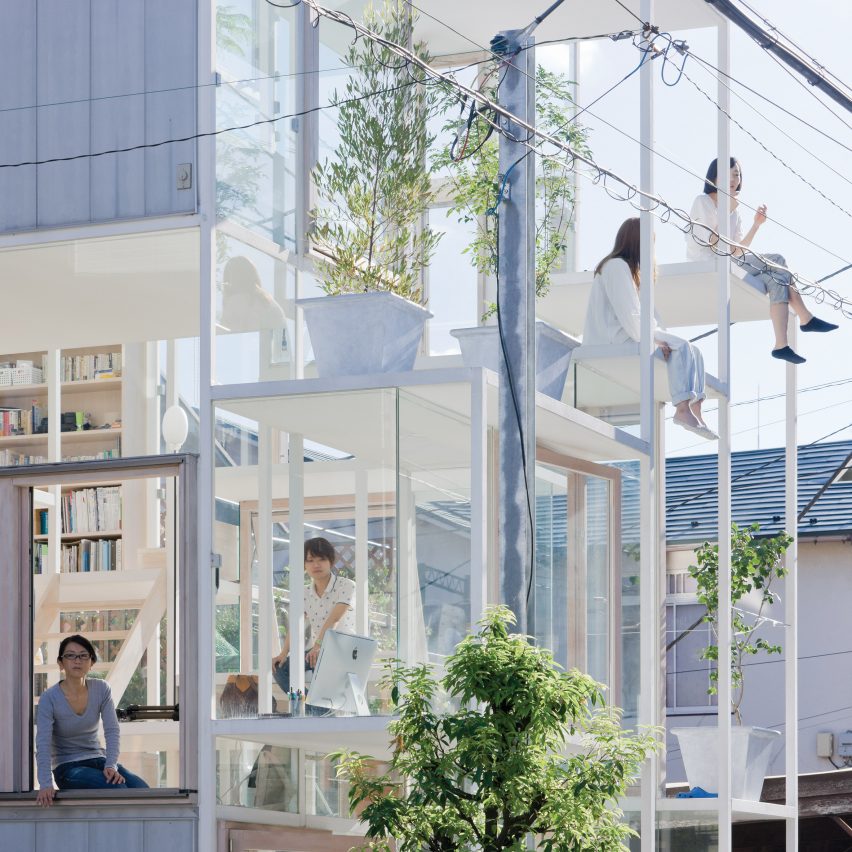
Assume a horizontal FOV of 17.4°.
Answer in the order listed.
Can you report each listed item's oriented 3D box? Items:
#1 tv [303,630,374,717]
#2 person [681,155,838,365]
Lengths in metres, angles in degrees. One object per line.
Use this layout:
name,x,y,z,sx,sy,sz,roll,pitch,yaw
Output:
tv,-0.509,1.408,15.962,0.280,0.470,0.374,8,-10,-29
person,2.485,-1.250,20.607,0.983,1.691,0.551,-7,-17,9
